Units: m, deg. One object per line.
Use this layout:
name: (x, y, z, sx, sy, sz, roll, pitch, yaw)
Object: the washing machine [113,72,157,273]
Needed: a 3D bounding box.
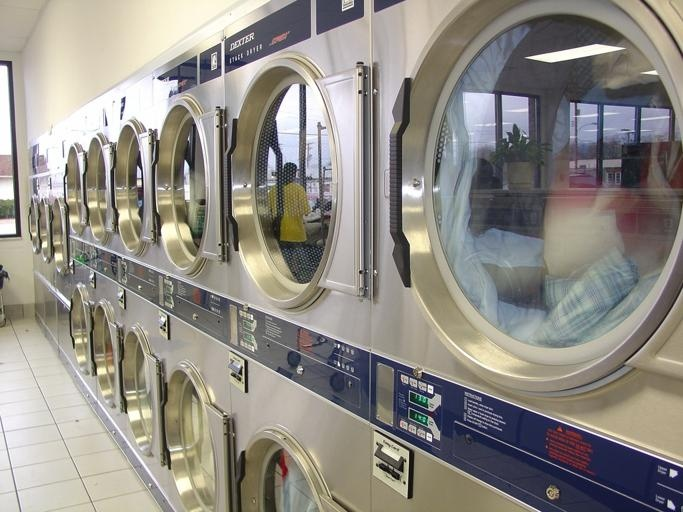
washing machine: (-1.306, -0.552, 3.261, 0.213, 1.047, 0.669, -1, -2, -38)
